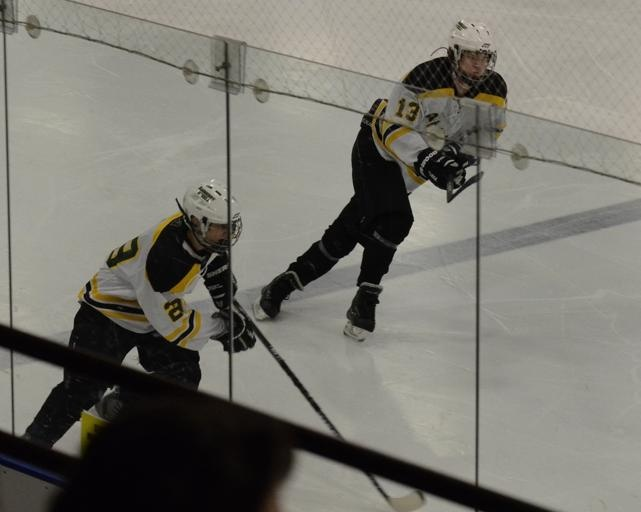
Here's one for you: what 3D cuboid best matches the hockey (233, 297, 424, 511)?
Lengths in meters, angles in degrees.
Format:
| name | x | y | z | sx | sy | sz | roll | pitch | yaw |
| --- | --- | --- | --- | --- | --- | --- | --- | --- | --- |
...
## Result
| name | x | y | z | sx | sy | sz | roll | pitch | yaw |
| --- | --- | --- | --- | --- | --- | --- | --- | --- | --- |
| hockey | 0.063 | 0.472 | 2.829 | 0.825 | 0.093 | 0.089 | 57 | 32 | 7 |

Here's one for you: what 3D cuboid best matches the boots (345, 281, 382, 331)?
| name | x | y | z | sx | sy | sz | roll | pitch | yaw |
| --- | --- | --- | --- | --- | --- | --- | --- | --- | --- |
| boots | 0.163 | 0.169 | 3.291 | 0.092 | 0.171 | 0.168 | 15 | 12 | -7 |

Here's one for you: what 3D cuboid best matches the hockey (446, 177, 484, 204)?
| name | x | y | z | sx | sy | sz | roll | pitch | yaw |
| --- | --- | --- | --- | --- | --- | --- | --- | --- | --- |
| hockey | 0.482 | -0.225 | 3.106 | 0.029 | 0.169 | 0.050 | -5 | 59 | -53 |

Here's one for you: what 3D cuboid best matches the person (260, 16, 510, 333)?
| name | x | y | z | sx | sy | sz | roll | pitch | yaw |
| --- | --- | --- | --- | --- | --- | --- | --- | --- | --- |
| person | 0.321 | -0.237 | 3.400 | 0.609 | 1.047 | 0.915 | 24 | 27 | 23 |

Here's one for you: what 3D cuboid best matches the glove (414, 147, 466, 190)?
| name | x | y | z | sx | sy | sz | roll | pitch | yaw |
| --- | --- | --- | --- | --- | --- | --- | --- | --- | --- |
| glove | 0.426 | -0.299 | 3.156 | 0.157 | 0.133 | 0.074 | 26 | -9 | 37 |

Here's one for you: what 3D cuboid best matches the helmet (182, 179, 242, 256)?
| name | x | y | z | sx | sy | sz | roll | pitch | yaw |
| --- | --- | --- | --- | --- | --- | --- | --- | --- | --- |
| helmet | -0.399 | -0.124 | 3.281 | 0.241 | 0.290 | 0.107 | 28 | 29 | 29 |
